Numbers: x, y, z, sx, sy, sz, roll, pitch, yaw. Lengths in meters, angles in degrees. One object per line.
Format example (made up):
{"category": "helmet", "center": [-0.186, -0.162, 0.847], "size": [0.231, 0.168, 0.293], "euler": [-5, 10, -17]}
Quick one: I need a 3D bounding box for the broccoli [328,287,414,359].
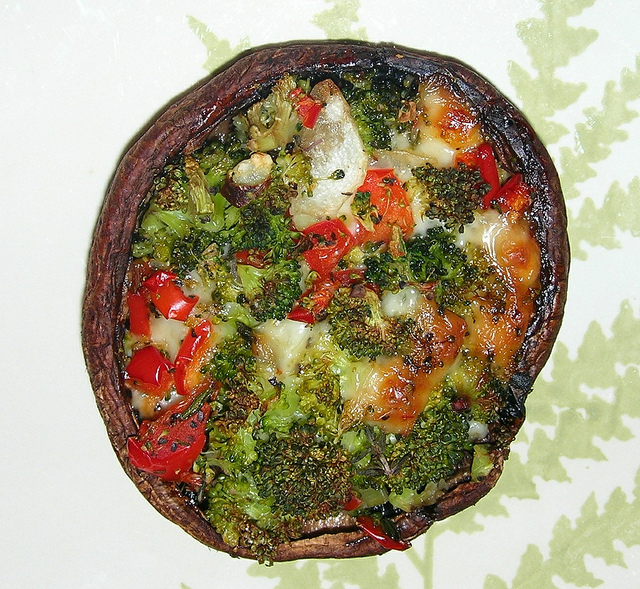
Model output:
{"category": "broccoli", "center": [0.194, 0.123, 3.974], "size": [0.299, 0.135, 0.304], "euler": [-16, 91, -16]}

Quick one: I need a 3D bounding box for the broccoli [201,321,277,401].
{"category": "broccoli", "center": [-0.338, 0.287, 3.970], "size": [0.284, 0.136, 0.333], "euler": [-4, 86, -19]}

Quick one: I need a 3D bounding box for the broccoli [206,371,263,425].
{"category": "broccoli", "center": [-0.374, 0.431, 3.980], "size": [0.244, 0.113, 0.193], "euler": [-7, 75, -1]}

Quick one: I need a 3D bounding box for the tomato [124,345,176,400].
{"category": "tomato", "center": [-0.701, 0.306, 4.021], "size": [0.232, 0.189, 0.161], "euler": [19, 34, 29]}

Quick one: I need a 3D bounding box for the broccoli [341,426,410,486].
{"category": "broccoli", "center": [0.226, 0.656, 3.990], "size": [0.246, 0.130, 0.270], "euler": [-16, 81, 4]}

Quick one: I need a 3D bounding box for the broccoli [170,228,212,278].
{"category": "broccoli", "center": [-0.549, -0.181, 3.910], "size": [0.138, 0.050, 0.183], "euler": [43, 85, -18]}

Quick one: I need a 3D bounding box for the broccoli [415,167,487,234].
{"category": "broccoli", "center": [0.557, -0.431, 3.950], "size": [0.260, 0.103, 0.261], "euler": [45, 98, -3]}

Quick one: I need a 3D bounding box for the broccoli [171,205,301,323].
{"category": "broccoli", "center": [-0.310, -0.138, 3.949], "size": [0.512, 0.250, 0.443], "euler": [39, 79, 11]}

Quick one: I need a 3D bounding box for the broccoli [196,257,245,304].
{"category": "broccoli", "center": [-0.428, -0.079, 4.021], "size": [0.195, 0.183, 0.147], "euler": [-9, 28, -17]}

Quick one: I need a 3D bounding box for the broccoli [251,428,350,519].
{"category": "broccoli", "center": [-0.089, 0.742, 4.042], "size": [0.452, 0.161, 0.361], "euler": [3, 98, -2]}

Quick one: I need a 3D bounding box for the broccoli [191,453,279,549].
{"category": "broccoli", "center": [-0.379, 0.883, 3.936], "size": [0.346, 0.156, 0.402], "euler": [-18, 89, -5]}

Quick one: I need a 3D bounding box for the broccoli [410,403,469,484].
{"category": "broccoli", "center": [0.509, 0.637, 4.019], "size": [0.298, 0.113, 0.317], "euler": [-3, 94, -17]}

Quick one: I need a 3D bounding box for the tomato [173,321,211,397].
{"category": "tomato", "center": [-0.556, 0.259, 4.015], "size": [0.190, 0.244, 0.253], "euler": [-13, 35, -25]}

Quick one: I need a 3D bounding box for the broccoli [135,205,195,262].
{"category": "broccoli", "center": [-0.642, -0.258, 3.876], "size": [0.195, 0.076, 0.239], "euler": [33, 101, -21]}

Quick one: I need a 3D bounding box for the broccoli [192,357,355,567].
{"category": "broccoli", "center": [-0.168, 0.731, 4.313], "size": [0.737, 0.321, 0.880], "euler": [33, 94, -1]}

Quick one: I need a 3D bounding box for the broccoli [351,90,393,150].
{"category": "broccoli", "center": [0.218, -0.741, 3.967], "size": [0.184, 0.068, 0.217], "euler": [-19, 114, -10]}

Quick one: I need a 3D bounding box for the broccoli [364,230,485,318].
{"category": "broccoli", "center": [0.446, -0.121, 4.026], "size": [0.495, 0.129, 0.328], "euler": [21, 96, -4]}

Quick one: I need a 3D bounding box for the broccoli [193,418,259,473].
{"category": "broccoli", "center": [-0.390, 0.609, 4.048], "size": [0.278, 0.277, 0.068], "euler": [31, 106, 12]}

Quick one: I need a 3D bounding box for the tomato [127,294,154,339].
{"category": "tomato", "center": [-0.760, 0.089, 3.928], "size": [0.116, 0.041, 0.154], "euler": [13, 107, -12]}
